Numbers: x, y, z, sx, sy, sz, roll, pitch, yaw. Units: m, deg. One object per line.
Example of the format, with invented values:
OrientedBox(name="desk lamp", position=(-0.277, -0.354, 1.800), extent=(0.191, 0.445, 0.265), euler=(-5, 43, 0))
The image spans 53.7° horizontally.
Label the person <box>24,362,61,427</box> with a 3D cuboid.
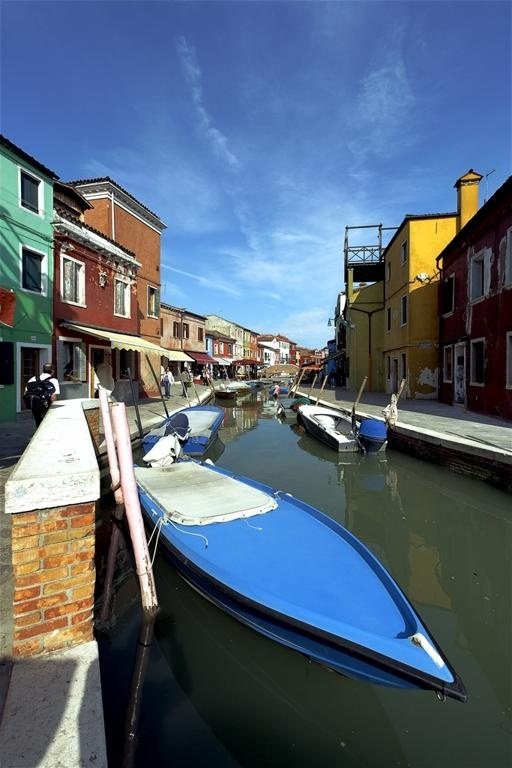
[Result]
OrientedBox(name="person", position=(-3.651, 0.290, 8.487), extent=(0.471, 1.243, 0.437), euler=(8, 24, -11))
